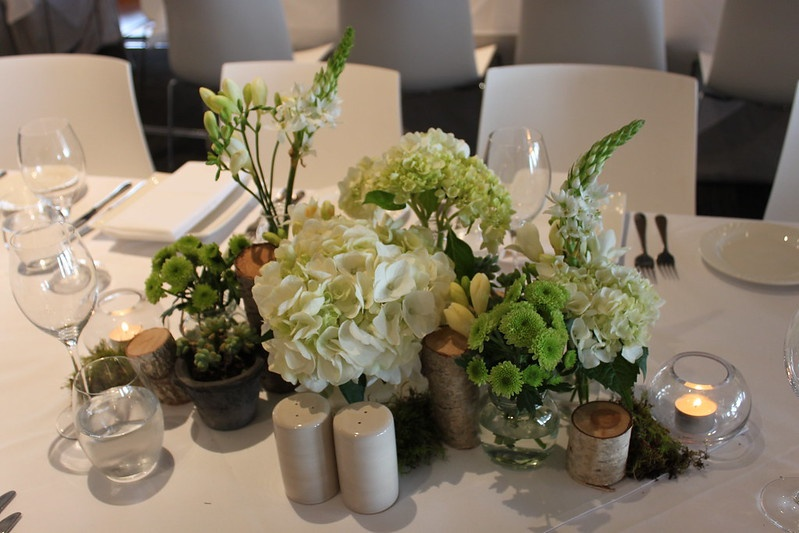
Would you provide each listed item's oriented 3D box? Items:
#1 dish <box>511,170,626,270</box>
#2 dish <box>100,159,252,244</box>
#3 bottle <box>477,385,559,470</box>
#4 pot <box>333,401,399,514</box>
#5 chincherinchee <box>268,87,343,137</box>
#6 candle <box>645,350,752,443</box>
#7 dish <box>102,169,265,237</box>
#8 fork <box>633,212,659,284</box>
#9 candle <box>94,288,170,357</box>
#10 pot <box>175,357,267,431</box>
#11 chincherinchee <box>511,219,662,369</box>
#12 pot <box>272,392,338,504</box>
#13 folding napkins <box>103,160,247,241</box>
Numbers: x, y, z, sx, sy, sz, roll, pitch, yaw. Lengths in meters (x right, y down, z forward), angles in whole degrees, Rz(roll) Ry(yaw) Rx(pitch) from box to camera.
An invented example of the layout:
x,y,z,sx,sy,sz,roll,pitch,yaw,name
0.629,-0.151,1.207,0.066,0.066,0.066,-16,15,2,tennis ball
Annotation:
x,y,z,sx,sy,sz,roll,pitch,yaw,name
0.238,-0.063,0.940,0.135,0.151,0.113,-20,0,31,dish
-0.550,-0.116,1.526,0.225,0.080,0.312,16,49,35,dish
0.197,0.257,1.007,0.113,0.123,0.120,-1,25,6,bottle
-0.053,0.296,0.945,0.088,0.153,0.095,-3,24,1,pot
-0.157,-0.262,1.018,0.112,0.076,0.069,-7,30,-4,chincherinchee
0.489,0.215,0.989,0.136,0.107,0.153,-4,44,19,candle
-0.560,-0.154,1.501,0.199,0.069,0.276,15,44,34,dish
0.530,-0.037,1.323,0.034,0.024,0.204,1,48,5,fork
-0.498,0.101,1.148,0.111,0.118,0.117,1,11,-1,candle
-0.297,0.206,0.998,0.121,0.096,0.128,-3,21,1,pot
0.291,0.051,0.901,0.186,0.164,0.122,8,32,22,chincherinchee
-0.143,0.282,0.924,0.096,0.170,0.097,-1,24,0,pot
-0.554,-0.109,1.538,0.223,0.077,0.309,15,47,34,folding napkins
